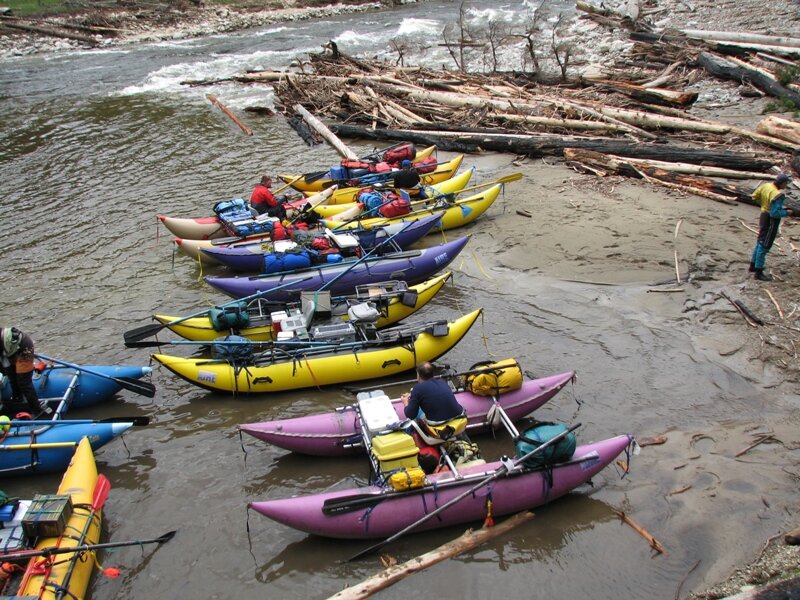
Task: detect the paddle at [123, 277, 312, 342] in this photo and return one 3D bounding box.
[{"bbox_3d":[-3.736,0.232,15.252,5.988,0.596,0.359,-10,-15,-7],"label":"paddle"}]

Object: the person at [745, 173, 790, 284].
[{"bbox_3d":[7.869,-1.594,15.575,0.575,2.220,1.420,11,38,23],"label":"person"}]

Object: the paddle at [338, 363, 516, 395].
[{"bbox_3d":[0.435,1.452,13.284,2.363,0.388,0.390,-8,46,3],"label":"paddle"}]

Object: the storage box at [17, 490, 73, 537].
[{"bbox_3d":[-5.419,3.283,11.220,0.877,0.360,0.604,5,34,10],"label":"storage box"}]

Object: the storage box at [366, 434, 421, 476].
[{"bbox_3d":[-0.090,2.439,11.541,0.840,0.427,0.831,-3,-3,-15],"label":"storage box"}]
